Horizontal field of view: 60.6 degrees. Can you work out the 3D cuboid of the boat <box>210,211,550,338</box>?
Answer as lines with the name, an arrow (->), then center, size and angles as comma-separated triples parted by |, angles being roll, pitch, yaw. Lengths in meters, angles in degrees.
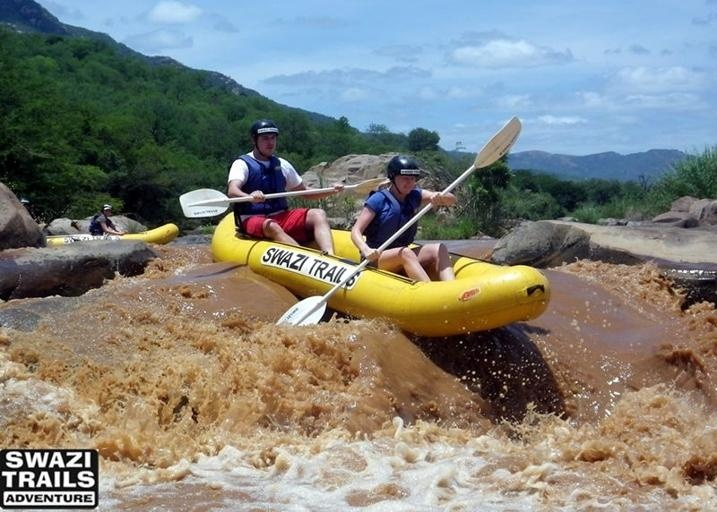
boat -> -0.012, 0.204, 8.931 | 5.536, 1.125, 1.443 | 10, 12, 37

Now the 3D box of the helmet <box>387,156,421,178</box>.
helmet -> 0.612, -1.189, 8.508 | 0.276, 0.328, 0.366 | -2, 20, -19

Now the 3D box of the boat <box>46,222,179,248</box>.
boat -> -5.849, -0.501, 14.506 | 2.284, 0.524, 0.736 | -8, -3, -7

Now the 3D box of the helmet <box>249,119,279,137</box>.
helmet -> -1.467, -2.017, 9.578 | 0.323, 0.281, 0.284 | 1, 5, 35
